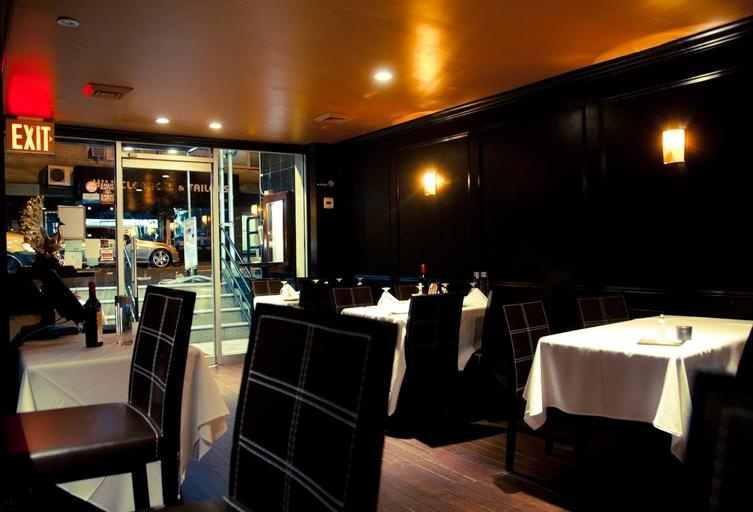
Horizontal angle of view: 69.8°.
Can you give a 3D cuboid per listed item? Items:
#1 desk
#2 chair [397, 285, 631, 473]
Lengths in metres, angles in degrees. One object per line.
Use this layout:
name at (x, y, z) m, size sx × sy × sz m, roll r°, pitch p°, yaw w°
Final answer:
desk at (1.782, 0.837, 3.652) m, size 0.944 × 0.507 × 1.738 m, roll -4°, pitch -3°, yaw 40°
chair at (1.031, 1.110, 4.953) m, size 1.540 × 1.565 × 1.404 m, roll 3°, pitch -3°, yaw -40°
